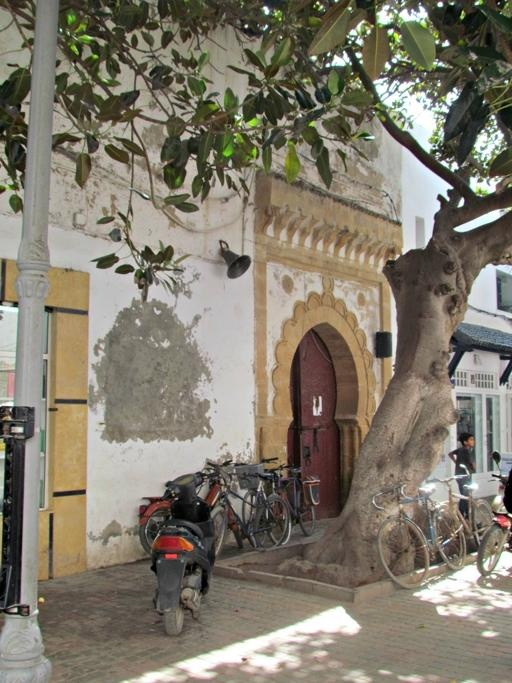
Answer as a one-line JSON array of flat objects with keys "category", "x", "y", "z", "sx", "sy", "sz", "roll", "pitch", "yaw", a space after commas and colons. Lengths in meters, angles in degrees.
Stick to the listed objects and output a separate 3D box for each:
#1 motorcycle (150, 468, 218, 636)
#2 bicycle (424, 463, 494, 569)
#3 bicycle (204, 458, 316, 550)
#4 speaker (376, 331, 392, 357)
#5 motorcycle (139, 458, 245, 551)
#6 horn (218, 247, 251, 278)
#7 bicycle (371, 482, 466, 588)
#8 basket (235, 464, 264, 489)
[{"category": "motorcycle", "x": -0.423, "y": 1.637, "z": 5.105, "sx": 0.426, "sy": 0.669, "sz": 1.199, "roll": -3, "pitch": 2, "yaw": 1}, {"category": "bicycle", "x": 2.467, "y": 2.079, "z": 7.491, "sx": 0.664, "sy": 0.947, "sz": 1.516, "roll": -12, "pitch": -13, "yaw": 42}, {"category": "bicycle", "x": -0.164, "y": 2.158, "z": 8.499, "sx": 0.846, "sy": 1.055, "sz": 2.193, "roll": -10, "pitch": -14, "yaw": 28}, {"category": "speaker", "x": 2.408, "y": 0.058, "z": 11.985, "sx": 0.343, "sy": 0.518, "sz": 0.181, "roll": 2, "pitch": -7, "yaw": -12}, {"category": "motorcycle", "x": -0.682, "y": 1.911, "z": 7.326, "sx": 1.380, "sy": 0.901, "sz": 0.566, "roll": -6, "pitch": -21, "yaw": 6}, {"category": "horn", "x": -0.310, "y": -1.118, "z": 8.781, "sx": 0.443, "sy": 0.444, "sz": 0.269, "roll": -5, "pitch": -9, "yaw": 32}, {"category": "bicycle", "x": 1.761, "y": 2.041, "z": 6.764, "sx": 1.583, "sy": 0.969, "sz": 0.645, "roll": 4, "pitch": -19, "yaw": -43}, {"category": "basket", "x": -0.068, "y": 1.743, "z": 8.253, "sx": 0.406, "sy": 0.388, "sz": 0.299, "roll": 6, "pitch": -14, "yaw": -28}]
